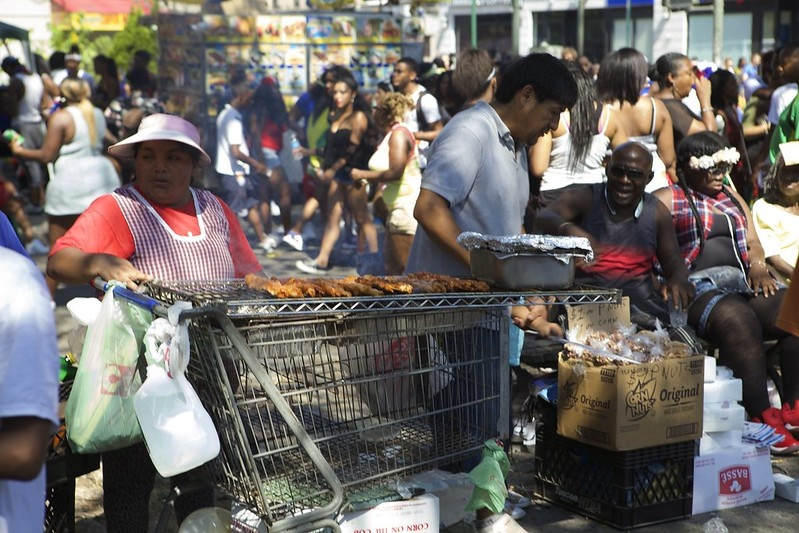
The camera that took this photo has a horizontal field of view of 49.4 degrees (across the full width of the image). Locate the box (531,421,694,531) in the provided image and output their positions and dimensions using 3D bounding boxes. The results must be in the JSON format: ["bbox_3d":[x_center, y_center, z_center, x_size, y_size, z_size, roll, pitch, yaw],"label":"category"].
[{"bbox_3d":[1.497,1.214,5.973,0.606,0.549,0.859,0,2,-28],"label":"box"}]

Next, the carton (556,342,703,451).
[{"bbox_3d":[1.565,0.908,5.862,0.642,0.478,0.672,-1,1,-30],"label":"carton"}]

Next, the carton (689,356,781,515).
[{"bbox_3d":[2.309,1.188,6.195,0.685,1.001,0.323,-3,9,-17],"label":"carton"}]

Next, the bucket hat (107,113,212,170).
[{"bbox_3d":[-1.548,-0.821,5.613,0.611,0.332,0.361,-3,10,-15],"label":"bucket hat"}]

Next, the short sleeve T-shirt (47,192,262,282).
[{"bbox_3d":[-1.719,-0.204,5.900,0.842,0.742,0.417,-1,-2,-31],"label":"short sleeve T-shirt"}]

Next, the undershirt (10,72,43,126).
[{"bbox_3d":[-6.232,-2.877,14.644,0.434,0.871,0.564,2,12,16],"label":"undershirt"}]

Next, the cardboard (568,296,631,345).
[{"bbox_3d":[1.373,0.386,6.048,0.275,0.232,0.022,-9,4,-15],"label":"cardboard"}]

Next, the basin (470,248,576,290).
[{"bbox_3d":[0.758,0.039,5.227,0.354,0.155,0.310,5,-1,-24],"label":"basin"}]

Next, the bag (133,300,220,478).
[{"bbox_3d":[-1.180,0.647,4.605,0.436,0.901,0.283,-2,9,-9],"label":"bag"}]

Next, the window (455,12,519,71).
[{"bbox_3d":[4.535,-12.213,48.706,3.756,4.343,2.208,-4,-8,-12],"label":"window"}]

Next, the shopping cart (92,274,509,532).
[{"bbox_3d":[-0.437,0.707,5.354,1.855,1.473,1.224,-8,14,-33],"label":"shopping cart"}]
